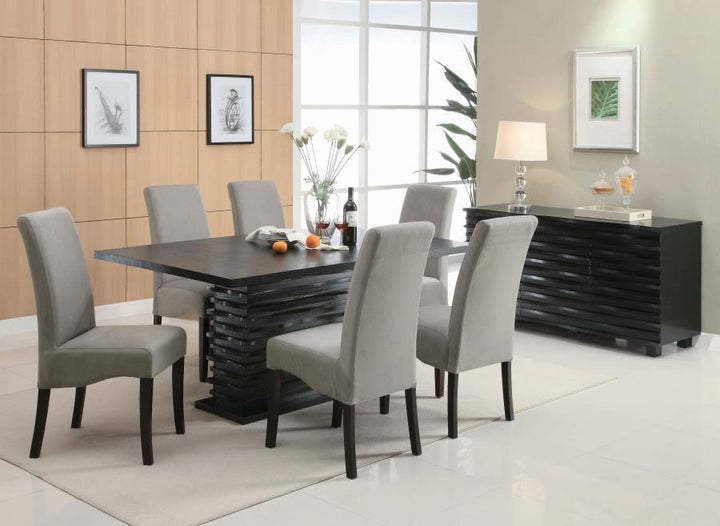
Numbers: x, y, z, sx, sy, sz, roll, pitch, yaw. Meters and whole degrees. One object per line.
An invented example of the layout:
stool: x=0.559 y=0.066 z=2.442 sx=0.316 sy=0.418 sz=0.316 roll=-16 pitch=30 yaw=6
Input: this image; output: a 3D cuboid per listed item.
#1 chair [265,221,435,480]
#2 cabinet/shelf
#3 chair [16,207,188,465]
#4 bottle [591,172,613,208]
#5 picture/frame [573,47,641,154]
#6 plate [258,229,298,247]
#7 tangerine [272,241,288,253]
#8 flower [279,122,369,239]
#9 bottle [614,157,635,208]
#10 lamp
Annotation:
chair: x=-0.033 y=0.392 z=3.028 sx=0.771 sy=1.159 sz=0.637 roll=4 pitch=6 yaw=33
cabinet/shelf: x=1.928 y=0.110 z=5.175 sx=0.593 sy=1.024 sz=1.862 roll=-9 pitch=11 yaw=-30
chair: x=-1.333 y=0.341 z=3.080 sx=0.706 sy=1.154 sz=0.638 roll=3 pitch=5 yaw=-7
bottle: x=2.066 y=-0.630 z=4.971 sx=0.176 sy=0.293 sz=0.416 roll=5 pitch=11 yaw=21
picture/frame: x=2.106 y=-1.387 z=4.995 sx=0.599 sy=0.865 sz=0.055 roll=10 pitch=15 yaw=40
plate: x=-0.541 y=-0.173 z=3.850 sx=0.164 sy=0.060 sz=0.166 roll=4 pitch=3 yaw=39
tangerine: x=-0.489 y=-0.099 z=3.565 sx=0.066 sy=0.052 sz=0.088 roll=1 pitch=2 yaw=12
flower: x=-0.265 y=-0.525 z=3.844 sx=0.587 sy=0.750 sz=0.598 roll=7 pitch=7 yaw=28
bottle: x=2.186 y=-0.670 z=4.809 sx=0.162 sy=0.421 sz=0.422 roll=6 pitch=12 yaw=25
lamp: x=1.455 y=-0.882 z=5.270 sx=0.440 sy=0.812 sz=0.637 roll=4 pitch=12 yaw=17
